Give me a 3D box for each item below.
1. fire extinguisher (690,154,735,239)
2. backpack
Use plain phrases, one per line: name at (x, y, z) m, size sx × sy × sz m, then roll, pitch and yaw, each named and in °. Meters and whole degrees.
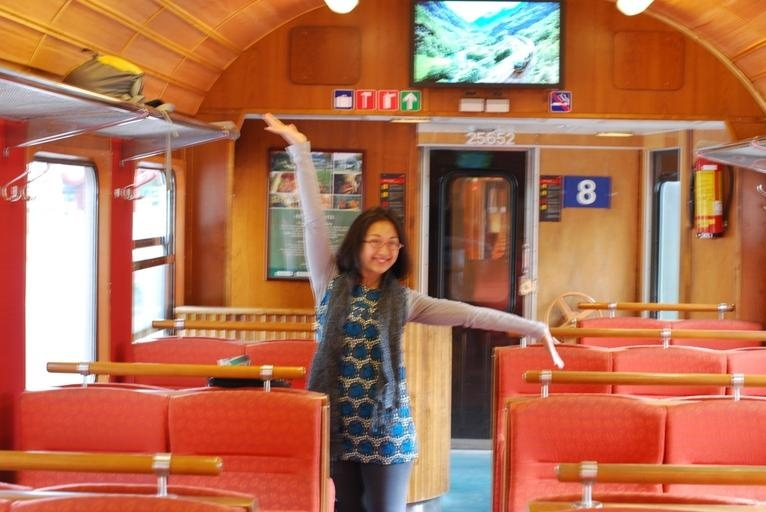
fire extinguisher at (3.204, -0.653, 9.846) m, size 0.260 × 0.920 × 0.241 m, roll -3°, pitch 2°, yaw -32°
backpack at (-1.979, -1.269, 7.110) m, size 0.586 × 0.381 × 0.245 m, roll 1°, pitch -1°, yaw 11°
